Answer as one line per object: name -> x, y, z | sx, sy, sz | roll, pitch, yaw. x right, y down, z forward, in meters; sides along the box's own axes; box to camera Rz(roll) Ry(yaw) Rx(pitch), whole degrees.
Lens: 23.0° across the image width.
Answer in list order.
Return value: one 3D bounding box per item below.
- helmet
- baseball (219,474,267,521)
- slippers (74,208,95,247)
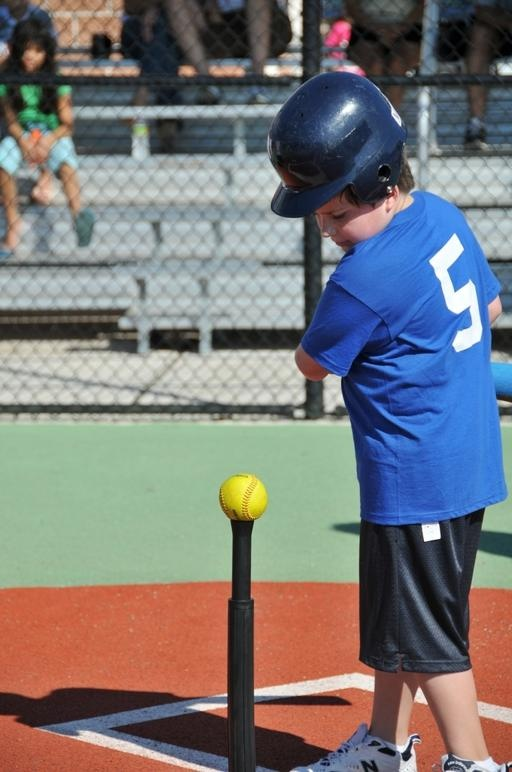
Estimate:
helmet -> 0.213, -0.541, 2.974 | 0.265, 0.368, 0.247 | 36, -3, 37
baseball -> -0.027, 0.261, 2.922 | 0.113, 0.106, 0.105 | 4, 45, 13
slippers -> -1.016, -0.949, 7.436 | 0.134, 0.218, 0.071 | 4, 13, 17
